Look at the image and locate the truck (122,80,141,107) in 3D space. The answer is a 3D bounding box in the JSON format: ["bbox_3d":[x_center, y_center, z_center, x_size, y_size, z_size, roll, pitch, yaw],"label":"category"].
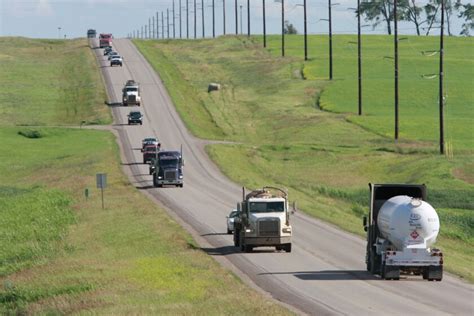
[{"bbox_3d":[-21.464,-12.883,242.797,3.602,4.997,4.488,-3,12,-5],"label":"truck"}]

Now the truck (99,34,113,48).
[{"bbox_3d":[-32.536,-28.998,295.131,3.029,3.352,5.203,-3,12,-8],"label":"truck"}]
